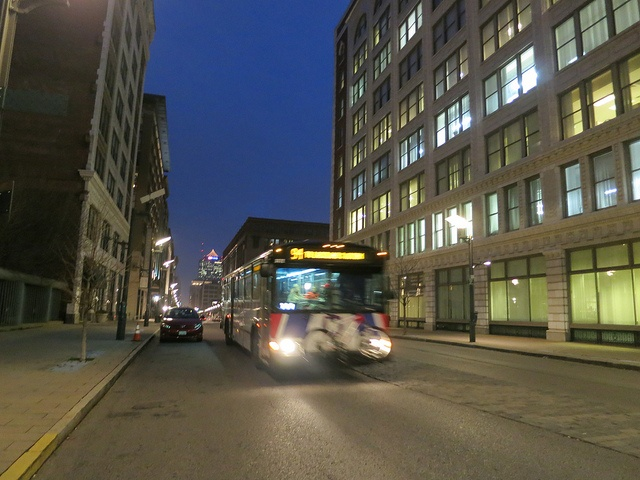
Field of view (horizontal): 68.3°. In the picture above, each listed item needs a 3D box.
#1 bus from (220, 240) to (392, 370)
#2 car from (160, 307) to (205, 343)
[{"bbox_3d":[-1.203,2.173,15.156,3.264,3.729,6.241,10,-16,-43],"label":"bus"},{"bbox_3d":[-6.917,4.192,23.484,1.896,1.669,2.423,4,-13,-21],"label":"car"}]
